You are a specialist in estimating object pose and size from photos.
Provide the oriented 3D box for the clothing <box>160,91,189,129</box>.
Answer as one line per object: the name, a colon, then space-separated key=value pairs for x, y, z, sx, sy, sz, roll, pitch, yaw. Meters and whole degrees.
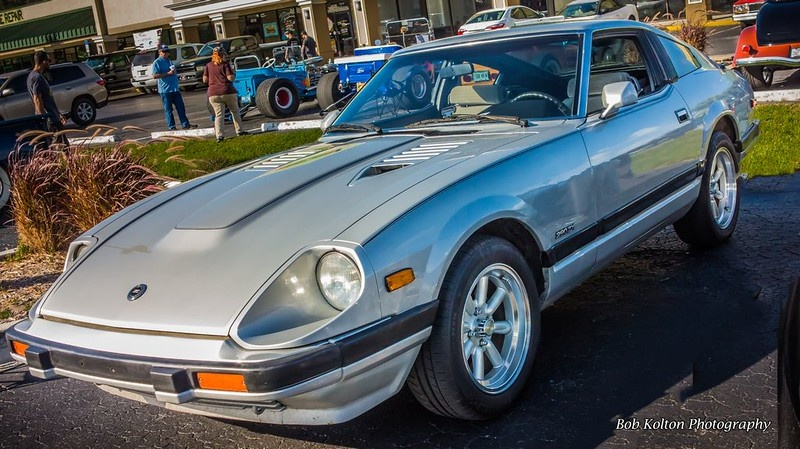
clothing: x=-7.200 y=-3.685 z=16.799 sx=0.650 sy=1.496 sz=0.436 roll=-13 pitch=-15 yaw=-20

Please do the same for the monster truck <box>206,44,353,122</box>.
monster truck: x=-4.253 y=-4.669 z=17.615 sx=2.618 sy=1.775 sz=4.450 roll=8 pitch=28 yaw=41

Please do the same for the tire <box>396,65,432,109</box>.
tire: x=0.135 y=-1.523 z=5.801 sx=0.425 sy=0.445 sz=0.162 roll=-4 pitch=7 yaw=-36

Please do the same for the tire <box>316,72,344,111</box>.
tire: x=-2.328 y=-4.498 z=17.541 sx=0.584 sy=1.518 sz=1.491 roll=15 pitch=16 yaw=6

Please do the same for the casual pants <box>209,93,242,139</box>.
casual pants: x=-4.868 y=-3.189 z=14.753 sx=0.762 sy=1.648 sz=0.533 roll=-11 pitch=37 yaw=-15

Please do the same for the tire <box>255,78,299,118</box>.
tire: x=-3.999 y=-4.112 z=17.044 sx=0.572 sy=1.267 sz=1.226 roll=7 pitch=-4 yaw=39

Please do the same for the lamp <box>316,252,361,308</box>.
lamp: x=-0.428 y=0.383 z=3.654 sx=0.273 sy=0.405 sz=0.097 roll=1 pitch=3 yaw=14

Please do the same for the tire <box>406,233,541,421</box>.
tire: x=0.533 y=0.780 z=4.002 sx=0.408 sy=1.338 sz=1.290 roll=7 pitch=11 yaw=40
